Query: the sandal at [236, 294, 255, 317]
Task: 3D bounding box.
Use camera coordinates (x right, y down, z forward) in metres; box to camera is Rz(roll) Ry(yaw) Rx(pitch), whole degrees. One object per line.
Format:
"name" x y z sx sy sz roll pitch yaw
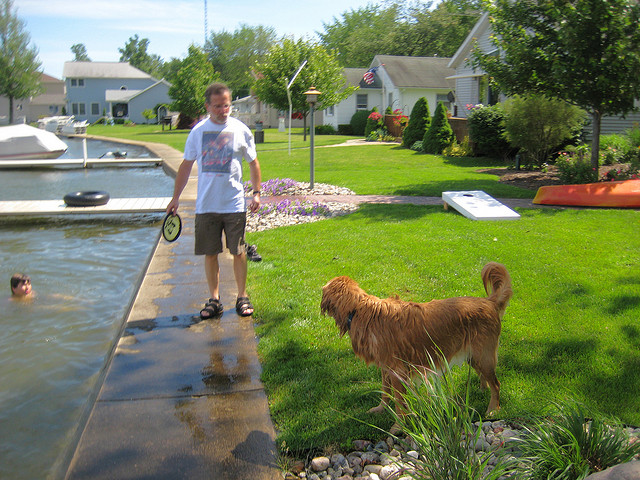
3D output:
"sandal" -0.865 0.770 5.697 0.212 0.178 0.234 0 14 -10

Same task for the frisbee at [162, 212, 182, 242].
"frisbee" -1.725 -0.165 5.848 0.292 0.306 0.075 -18 -17 39

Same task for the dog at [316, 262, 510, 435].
"dog" 0.795 0.834 3.924 1.561 1.207 0.526 -3 10 2

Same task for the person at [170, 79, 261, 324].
"person" -1.139 -0.414 5.437 0.905 2.588 0.551 1 14 -7
